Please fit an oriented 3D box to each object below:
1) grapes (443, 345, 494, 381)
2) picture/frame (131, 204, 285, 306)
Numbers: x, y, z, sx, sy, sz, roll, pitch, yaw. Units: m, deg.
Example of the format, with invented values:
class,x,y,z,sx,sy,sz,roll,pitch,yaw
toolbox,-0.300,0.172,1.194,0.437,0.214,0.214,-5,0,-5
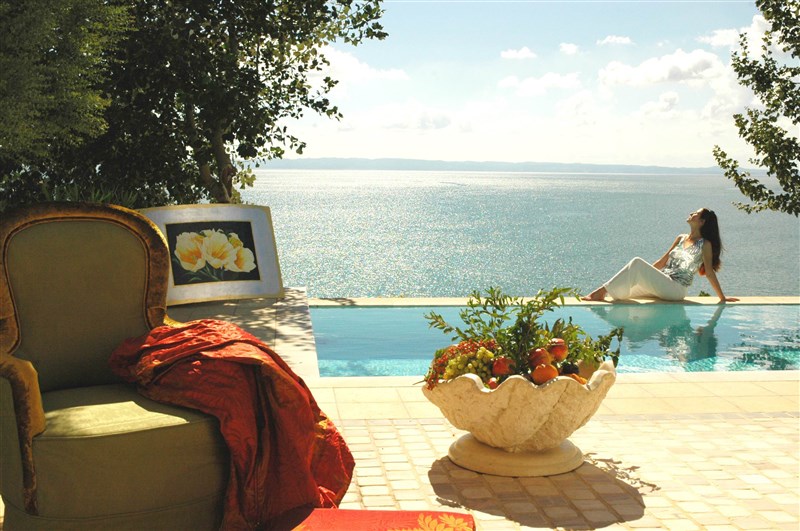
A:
class,x,y,z,sx,sy,sz,roll,pitch,yaw
grapes,0.456,0.666,4.143,0.253,0.149,0.267,-4,1,-19
picture/frame,-2.564,-0.164,8.647,1.837,1.644,0.883,1,15,-11
